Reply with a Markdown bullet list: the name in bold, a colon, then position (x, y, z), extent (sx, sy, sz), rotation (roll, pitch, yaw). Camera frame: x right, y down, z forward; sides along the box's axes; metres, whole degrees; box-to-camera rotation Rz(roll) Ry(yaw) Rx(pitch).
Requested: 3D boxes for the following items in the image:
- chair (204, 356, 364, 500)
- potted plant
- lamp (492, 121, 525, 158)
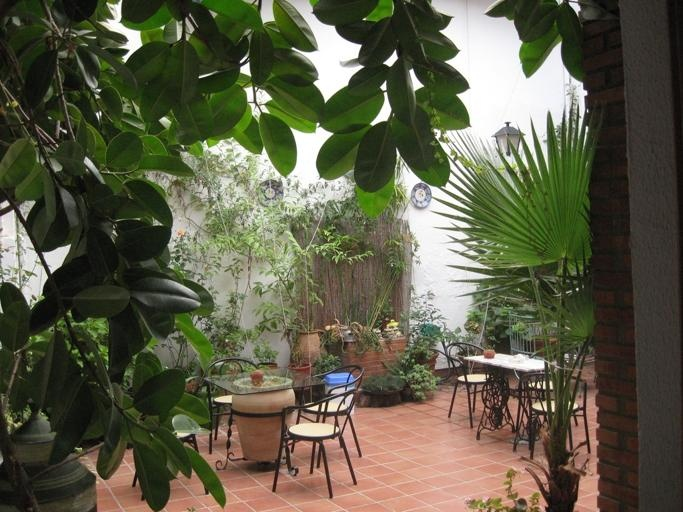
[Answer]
- **chair**: position (-0.434, 1.541, 4.816), extent (1.354, 0.940, 1.018), rotation (5, -4, -22)
- **potted plant**: position (0.827, 1.416, 7.471), extent (1.209, 0.987, 0.874), rotation (3, -6, -38)
- **lamp**: position (2.118, -1.478, 6.568), extent (0.336, 0.409, 0.387), rotation (-4, 11, 11)
